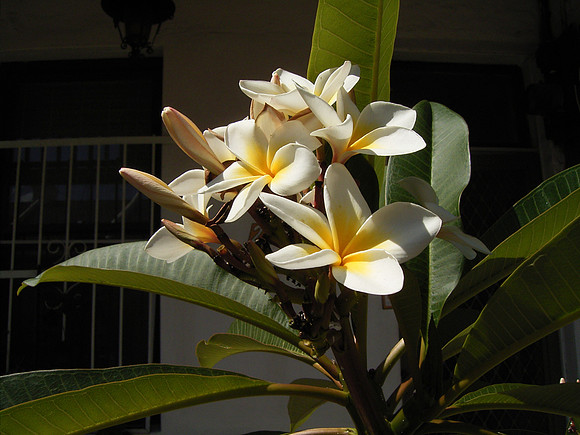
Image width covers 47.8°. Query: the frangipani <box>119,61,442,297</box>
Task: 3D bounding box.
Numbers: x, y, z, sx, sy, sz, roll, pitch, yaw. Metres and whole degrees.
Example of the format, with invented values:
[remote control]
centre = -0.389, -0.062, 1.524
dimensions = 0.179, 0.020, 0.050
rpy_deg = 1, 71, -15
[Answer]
[frangipani]
centre = 0.140, -0.054, 2.466
dimensions = 0.851, 0.379, 0.895
rpy_deg = -14, 62, 5
